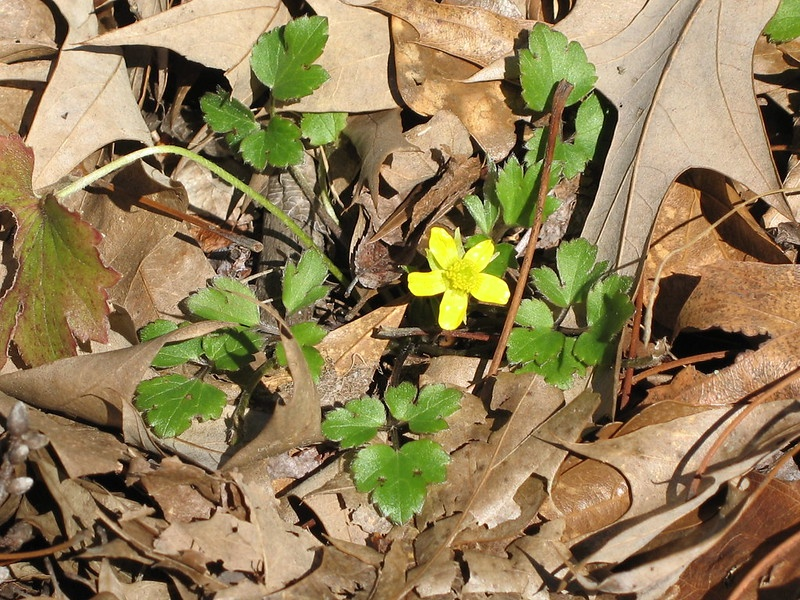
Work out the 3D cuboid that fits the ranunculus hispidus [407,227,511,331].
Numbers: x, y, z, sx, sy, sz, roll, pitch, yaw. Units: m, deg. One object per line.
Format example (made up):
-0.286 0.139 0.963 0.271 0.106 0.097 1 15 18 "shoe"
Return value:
0.310 -0.105 4.359 0.522 0.370 0.360 4 46 3 "ranunculus hispidus"
